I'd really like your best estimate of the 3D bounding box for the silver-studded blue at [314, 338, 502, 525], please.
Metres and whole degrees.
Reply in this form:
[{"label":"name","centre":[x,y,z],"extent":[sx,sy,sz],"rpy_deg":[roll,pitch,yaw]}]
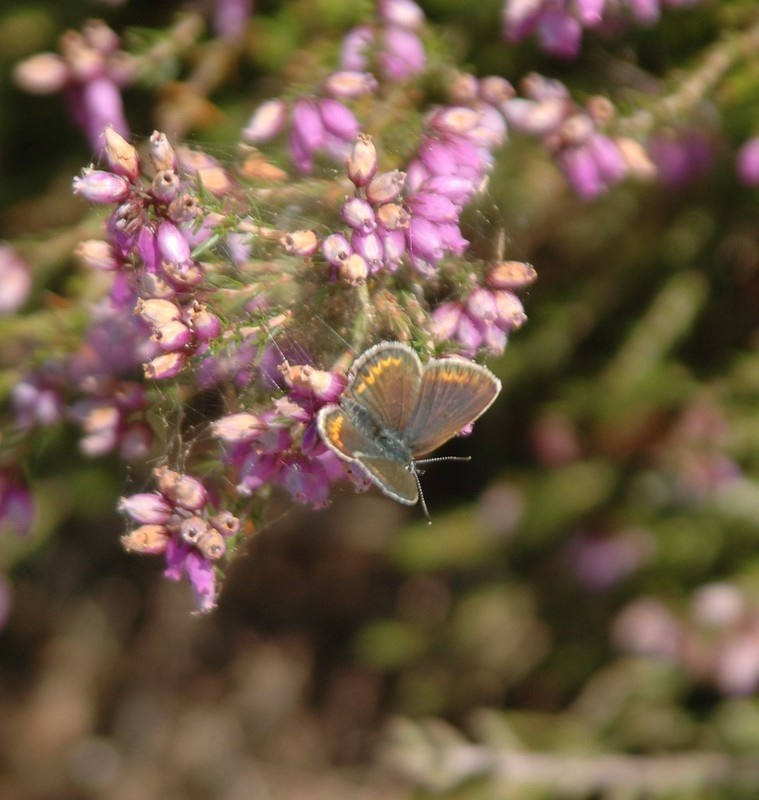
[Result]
[{"label":"silver-studded blue","centre":[0.038,0.054,1.052],"extent":[0.118,0.212,0.194],"rpy_deg":[-35,47,-2]}]
